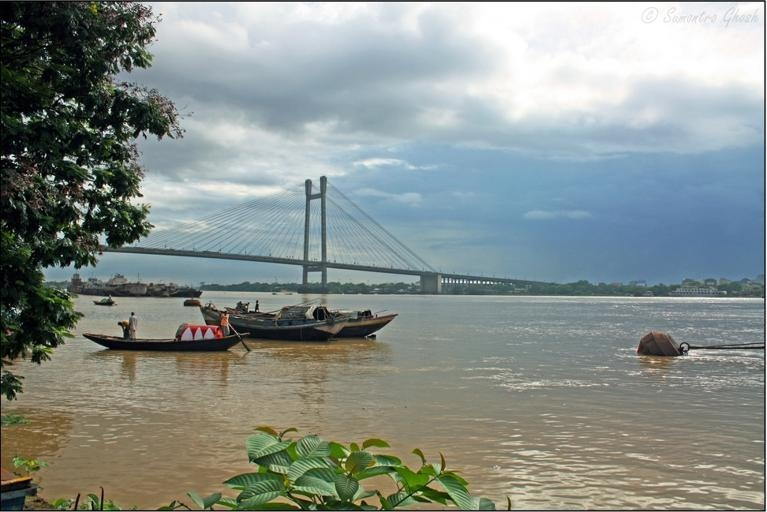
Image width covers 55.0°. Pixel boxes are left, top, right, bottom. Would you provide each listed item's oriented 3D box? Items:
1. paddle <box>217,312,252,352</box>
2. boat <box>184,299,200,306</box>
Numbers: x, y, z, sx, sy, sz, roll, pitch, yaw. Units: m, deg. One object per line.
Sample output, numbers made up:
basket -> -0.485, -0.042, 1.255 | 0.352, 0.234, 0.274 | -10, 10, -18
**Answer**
paddle -> -7.855, 4.098, 39.058 | 3.040, 0.801, 0.340 | 32, 27, 18
boat -> -28.233, 6.918, 107.434 | 2.552, 0.764, 2.192 | 0, 0, 24
